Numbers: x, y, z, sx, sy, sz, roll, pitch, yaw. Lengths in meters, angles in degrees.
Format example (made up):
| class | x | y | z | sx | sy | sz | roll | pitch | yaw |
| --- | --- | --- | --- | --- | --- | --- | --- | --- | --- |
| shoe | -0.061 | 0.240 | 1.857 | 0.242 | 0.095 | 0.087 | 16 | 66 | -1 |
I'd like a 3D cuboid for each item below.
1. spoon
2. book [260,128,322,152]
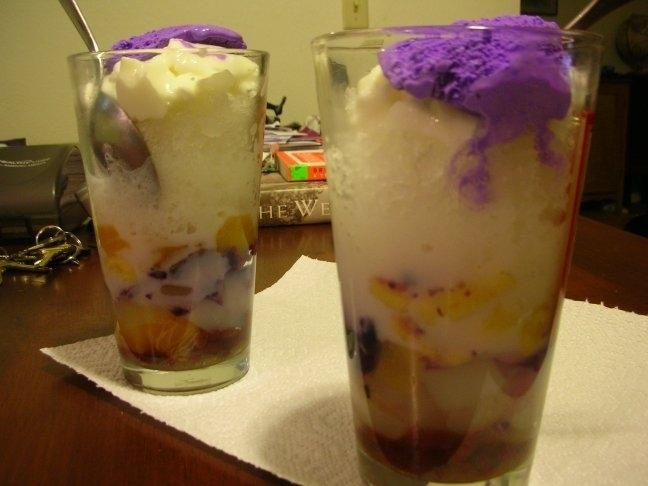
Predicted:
| class | x | y | z | sx | sy | sz | roll | pitch | yaw |
| --- | --- | --- | --- | --- | --- | --- | --- | --- | --- |
| spoon | -0.220 | -0.155 | 0.548 | 0.045 | 0.142 | 0.254 | -17 | 32 | -18 |
| book | -0.096 | -0.293 | 1.591 | 0.202 | 0.048 | 0.213 | -2 | 18 | -9 |
